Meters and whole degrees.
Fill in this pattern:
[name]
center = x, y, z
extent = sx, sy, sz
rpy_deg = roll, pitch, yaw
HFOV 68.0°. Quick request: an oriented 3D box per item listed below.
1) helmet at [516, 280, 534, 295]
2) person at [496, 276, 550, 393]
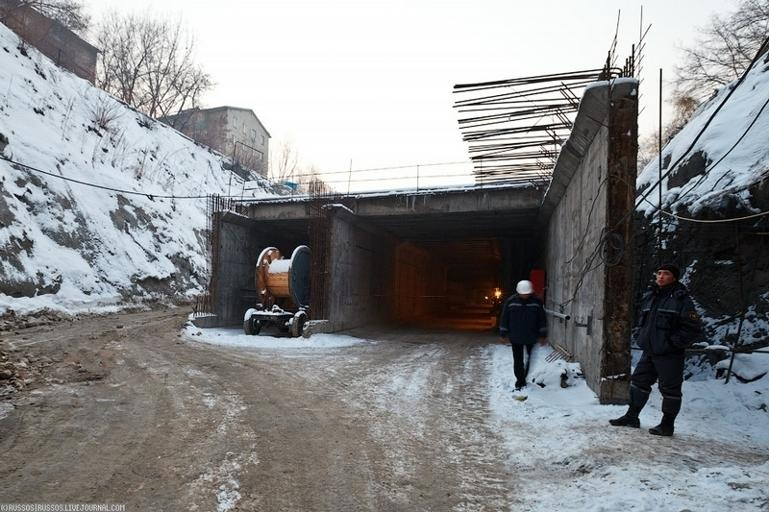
[helmet]
center = 3.505, 0.785, 14.129
extent = 0.349, 0.348, 0.430
rpy_deg = 0, -6, 15
[person]
center = 3.480, 1.961, 14.258
extent = 1.046, 2.656, 0.971
rpy_deg = 0, -5, 12
